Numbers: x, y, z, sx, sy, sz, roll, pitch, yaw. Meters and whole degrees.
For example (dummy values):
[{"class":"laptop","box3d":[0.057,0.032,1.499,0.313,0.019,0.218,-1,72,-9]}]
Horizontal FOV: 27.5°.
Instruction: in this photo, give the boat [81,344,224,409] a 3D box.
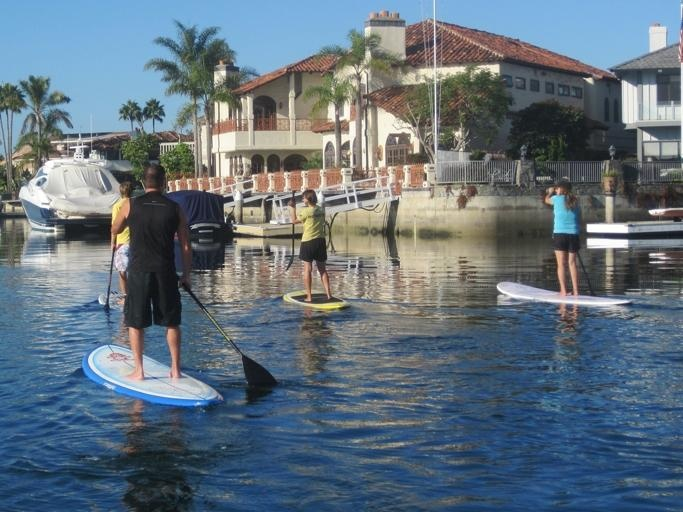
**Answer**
[{"class":"boat","box3d":[-3.955,2.387,27.679,3.219,0.337,1.089,16,19,36]}]

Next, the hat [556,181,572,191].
[{"class":"hat","box3d":[5.169,-1.629,32.521,0.269,0.083,0.245,3,-13,38]}]

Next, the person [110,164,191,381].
[{"class":"person","box3d":[-3.625,0.131,27.093,1.339,3.803,0.507,-1,2,-8]}]

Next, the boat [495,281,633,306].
[{"class":"boat","box3d":[5.010,0.946,33.783,0.934,0.268,3.400,5,-2,-43]}]

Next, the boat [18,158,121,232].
[{"class":"boat","box3d":[-11.818,-2.690,60.742,3.877,3.199,5.987,-1,1,-13]}]
